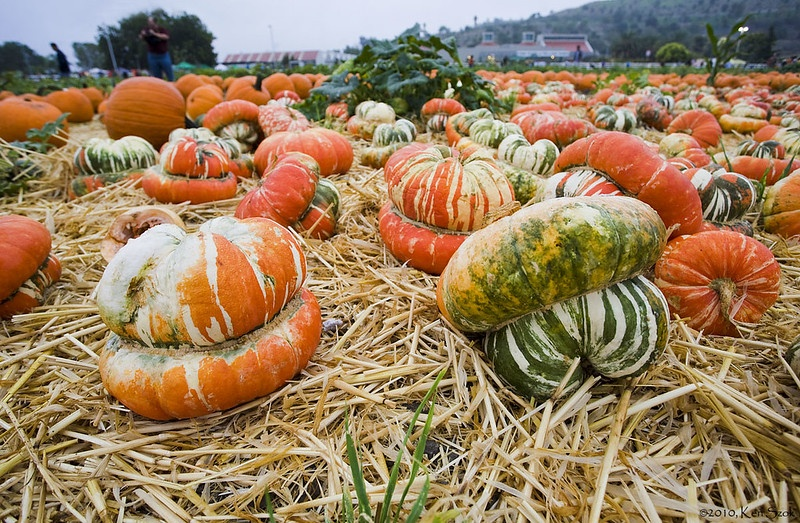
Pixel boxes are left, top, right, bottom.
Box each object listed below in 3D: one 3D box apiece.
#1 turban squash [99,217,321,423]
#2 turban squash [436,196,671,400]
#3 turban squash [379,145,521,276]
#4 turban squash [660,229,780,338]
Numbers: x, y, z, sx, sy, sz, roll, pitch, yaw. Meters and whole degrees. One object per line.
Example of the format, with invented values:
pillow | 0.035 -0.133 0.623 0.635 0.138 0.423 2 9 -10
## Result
turban squash | -1.125 0.325 3.767 1.306 0.887 1.233 -9 21 -23
turban squash | 1.076 0.171 3.849 1.314 1.270 0.739 -26 56 18
turban squash | 0.353 -0.291 4.245 0.835 0.399 1.041 -21 43 -13
turban squash | 2.068 0.145 3.873 0.779 0.616 0.366 2 28 8
